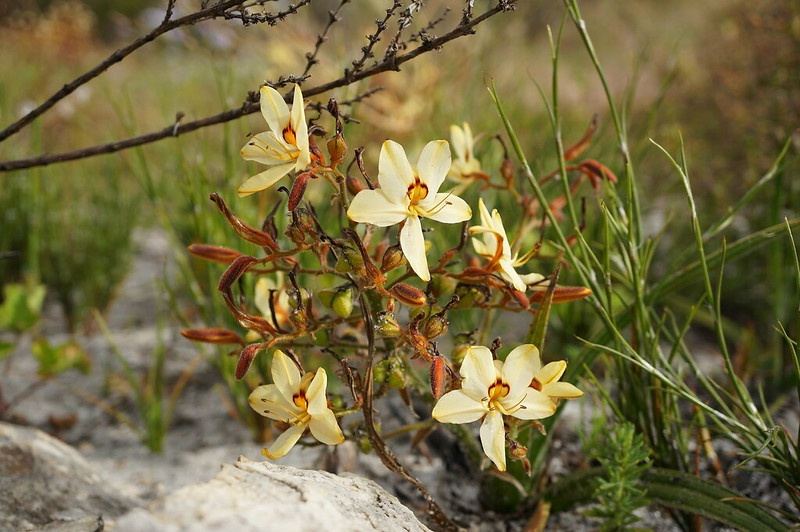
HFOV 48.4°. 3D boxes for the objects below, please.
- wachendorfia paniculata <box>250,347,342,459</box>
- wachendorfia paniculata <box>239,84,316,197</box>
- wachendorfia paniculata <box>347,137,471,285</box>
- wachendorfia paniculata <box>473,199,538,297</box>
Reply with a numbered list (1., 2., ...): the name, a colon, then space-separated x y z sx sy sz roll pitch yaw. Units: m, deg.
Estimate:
1. wachendorfia paniculata: -0.485 0.570 4.161 0.411 0.243 0.493 -23 17 -21
2. wachendorfia paniculata: -0.597 -0.607 4.203 0.190 0.434 0.457 5 34 -33
3. wachendorfia paniculata: 0.041 -0.271 4.147 0.566 0.581 0.284 7 22 4
4. wachendorfia paniculata: 0.517 -0.109 4.265 0.364 0.399 0.237 12 24 14
